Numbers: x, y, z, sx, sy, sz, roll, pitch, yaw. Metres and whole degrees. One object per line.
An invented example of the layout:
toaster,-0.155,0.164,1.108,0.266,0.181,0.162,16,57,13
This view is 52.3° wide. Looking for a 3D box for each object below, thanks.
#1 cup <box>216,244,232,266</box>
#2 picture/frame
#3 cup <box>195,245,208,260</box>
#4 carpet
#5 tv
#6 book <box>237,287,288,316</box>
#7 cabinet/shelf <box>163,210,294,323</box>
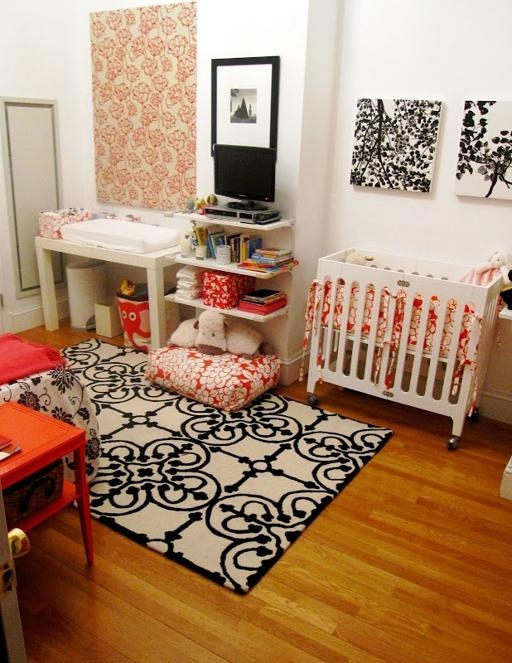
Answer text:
cup,-0.199,-0.469,3.187,0.111,0.112,0.113,2,17,-1
picture/frame,-0.049,-1.328,3.037,0.638,0.689,0.026,14,27,27
cup,-0.347,-0.495,3.287,0.075,0.090,0.092,-7,21,-25
carpet,-0.118,0.672,2.441,1.217,0.012,0.774,15,24,32
tv,-0.058,-0.911,3.027,0.395,0.261,0.105,14,26,32
book,0.063,-0.195,3.164,0.172,0.070,0.220,11,18,34
cabinet/shelf,-0.144,-0.405,3.222,0.711,0.444,0.234,16,21,28
